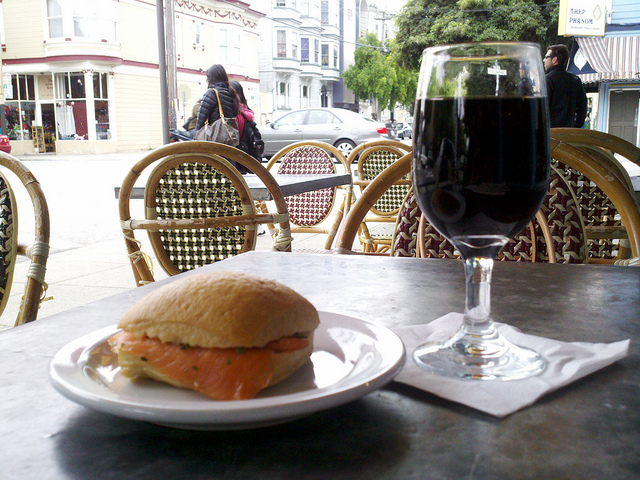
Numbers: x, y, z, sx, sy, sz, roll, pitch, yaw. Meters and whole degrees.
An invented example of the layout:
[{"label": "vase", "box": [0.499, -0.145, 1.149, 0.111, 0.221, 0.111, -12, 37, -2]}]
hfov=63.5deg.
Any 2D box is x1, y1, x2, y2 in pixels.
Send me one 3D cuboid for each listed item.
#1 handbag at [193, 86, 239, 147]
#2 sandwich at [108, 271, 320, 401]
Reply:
[{"label": "handbag", "box": [-1.116, -1.359, 5.673, 0.405, 0.542, 0.233, 3, 31, 25]}, {"label": "sandwich", "box": [-0.093, 0.058, 0.520, 0.140, 0.078, 0.133, 4, 8, 35]}]
